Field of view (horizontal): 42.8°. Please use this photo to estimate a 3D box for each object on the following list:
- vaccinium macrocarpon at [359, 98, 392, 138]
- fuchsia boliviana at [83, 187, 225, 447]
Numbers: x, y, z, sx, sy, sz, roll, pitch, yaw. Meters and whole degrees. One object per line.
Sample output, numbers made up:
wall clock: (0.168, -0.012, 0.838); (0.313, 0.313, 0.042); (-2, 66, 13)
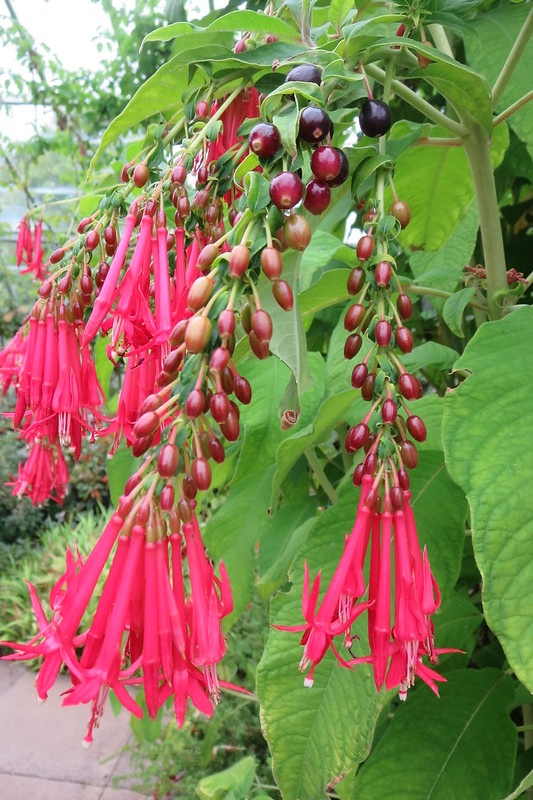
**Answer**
vaccinium macrocarpon: (0.103, -0.265, 0.641); (0.034, 0.043, 0.036); (5, 1, 10)
fuchsia boliviana: (-0.114, -0.099, 0.711); (0.112, 0.324, 0.087); (-3, 7, -29)
